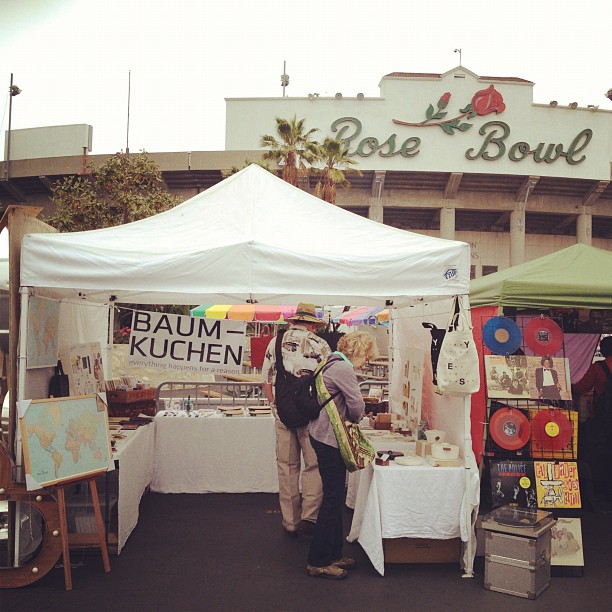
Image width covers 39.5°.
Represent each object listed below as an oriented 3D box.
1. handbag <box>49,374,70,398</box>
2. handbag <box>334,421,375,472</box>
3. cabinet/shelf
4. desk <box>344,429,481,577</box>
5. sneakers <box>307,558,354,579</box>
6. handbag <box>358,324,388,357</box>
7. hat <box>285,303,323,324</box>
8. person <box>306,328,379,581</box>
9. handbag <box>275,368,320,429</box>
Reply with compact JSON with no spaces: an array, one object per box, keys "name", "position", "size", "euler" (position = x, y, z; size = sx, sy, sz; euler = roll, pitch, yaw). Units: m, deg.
[{"name":"handbag","position":[-2.443,0.784,8.348],"size":[0.176,0.364,0.171],"euler":[3,-8,-41]},{"name":"handbag","position":[0.410,1.221,7.417],"size":[0.147,0.464,0.329],"euler":[-28,-40,28]},{"name":"cabinet/shelf","position":[1.895,2.119,7.566],"size":[0.604,0.796,0.599],"euler":[0,2,36]},{"name":"desk","position":[0.997,1.787,7.937],"size":[1.003,0.670,1.164],"euler":[1,0,-4]},{"name":"sneakers","position":[0.225,2.327,7.567],"size":[0.418,0.206,0.155],"euler":[-6,-2,10]},{"name":"handbag","position":[1.718,0.758,20.304],"size":[0.942,0.704,1.029],"euler":[2,3,4]},{"name":"hat","position":[-0.041,0.076,9.700],"size":[0.294,0.144,0.320],"euler":[14,-13,10]},{"name":"person","position":[0.299,1.296,7.581],"size":[0.558,2.124,0.553],"euler":[2,8,4]},{"name":"handbag","position":[-0.068,0.823,7.669],"size":[0.385,0.637,0.312],"euler":[-5,-16,10]}]
